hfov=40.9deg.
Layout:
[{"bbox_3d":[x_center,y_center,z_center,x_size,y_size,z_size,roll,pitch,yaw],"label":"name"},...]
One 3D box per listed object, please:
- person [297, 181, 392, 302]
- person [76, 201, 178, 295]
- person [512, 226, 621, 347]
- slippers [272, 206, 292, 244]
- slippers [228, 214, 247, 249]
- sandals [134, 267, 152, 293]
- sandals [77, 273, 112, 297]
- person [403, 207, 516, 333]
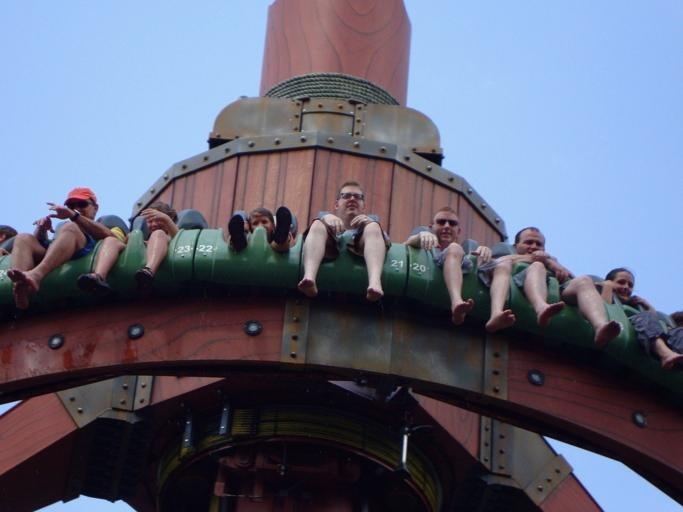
[{"bbox_3d":[0.005,-0.147,10.423,0.793,1.807,1.058,3,-55,0],"label":"person"},{"bbox_3d":[-2.234,-0.105,10.042,0.782,1.239,0.906,-15,-27,12],"label":"person"},{"bbox_3d":[2.443,0.221,10.437,1.607,0.856,0.652,29,-13,13],"label":"person"},{"bbox_3d":[-0.631,-0.334,9.719,0.144,0.166,0.444,11,-73,9],"label":"slippers"},{"bbox_3d":[-1.104,-0.273,9.800,0.139,0.162,0.427,0,-72,-5],"label":"slippers"},{"bbox_3d":[-2.070,0.235,9.699,0.145,0.148,0.344,4,-43,-1],"label":"sandals"},{"bbox_3d":[-2.593,0.274,9.616,0.152,0.175,0.351,-25,-30,3],"label":"sandals"},{"bbox_3d":[1.326,0.090,10.579,0.839,2.127,1.160,10,-47,-10],"label":"person"}]
